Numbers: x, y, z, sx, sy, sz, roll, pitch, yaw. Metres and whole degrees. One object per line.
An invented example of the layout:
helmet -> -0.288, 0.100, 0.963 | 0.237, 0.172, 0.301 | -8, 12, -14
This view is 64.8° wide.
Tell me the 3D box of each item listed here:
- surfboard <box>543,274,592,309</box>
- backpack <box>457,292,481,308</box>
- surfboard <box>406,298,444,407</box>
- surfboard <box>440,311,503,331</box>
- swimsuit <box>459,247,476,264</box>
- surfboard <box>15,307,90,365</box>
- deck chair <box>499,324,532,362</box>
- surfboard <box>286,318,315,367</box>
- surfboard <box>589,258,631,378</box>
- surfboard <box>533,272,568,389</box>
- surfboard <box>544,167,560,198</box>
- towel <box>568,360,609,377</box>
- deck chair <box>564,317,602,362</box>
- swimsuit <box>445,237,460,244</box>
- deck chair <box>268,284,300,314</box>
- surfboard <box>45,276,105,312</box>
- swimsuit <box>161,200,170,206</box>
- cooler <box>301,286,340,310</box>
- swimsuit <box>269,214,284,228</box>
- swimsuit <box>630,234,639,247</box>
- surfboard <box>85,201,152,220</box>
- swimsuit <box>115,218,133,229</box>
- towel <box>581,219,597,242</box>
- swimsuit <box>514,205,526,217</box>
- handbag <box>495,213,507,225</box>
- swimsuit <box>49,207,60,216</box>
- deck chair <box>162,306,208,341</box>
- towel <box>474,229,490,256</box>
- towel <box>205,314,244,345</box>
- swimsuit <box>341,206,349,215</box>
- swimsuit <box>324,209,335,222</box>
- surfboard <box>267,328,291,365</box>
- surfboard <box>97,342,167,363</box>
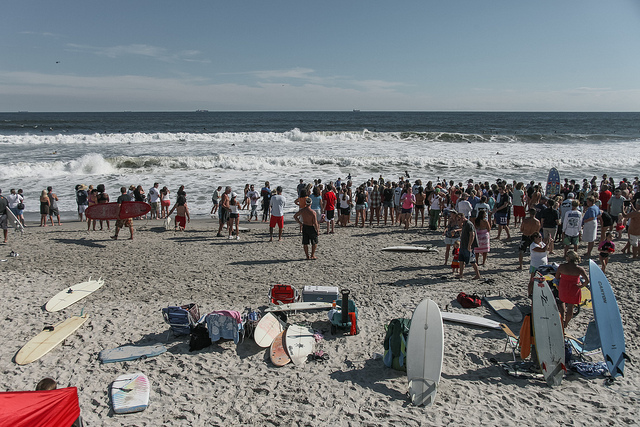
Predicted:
surfboard -> 6.630, 1.960, 13.392 | 0.928, 1.082, 0.755 | -3, -8, -2
backpack -> 3.963, 2.286, 13.263 | 0.428, 0.159, 0.332 | 2, 15, -24
surfboard -> 2.308, 3.188, 11.145 | 0.797, 2.577, 0.351 | 1, 12, 5
surfboard -> 3.769, 2.670, 12.692 | 2.036, 0.181, 0.496 | 4, 20, 11
swimsuit -> 4.101, 1.165, 14.090 | 0.222, 0.386, 0.296 | 30, -44, -34
surfboard -> -6.414, 3.001, 12.019 | 0.623, 0.664, 1.605 | 5, 11, 37
deck chair -> 4.759, 2.934, 11.902 | 0.687, 0.881, 0.521 | -17, 22, -5
surfboard -> -0.524, 3.122, 12.078 | 0.780, 0.296, 1.678 | 16, 18, -5
surfboard -> 6.571, 2.470, 11.521 | 0.613, 3.087, 0.350 | 0, -19, -12
surfboard -> 5.068, 2.591, 11.145 | 0.581, 2.566, 0.433 | -2, -5, 6
surfboard -> 9.713, -1.308, 21.042 | 0.496, 1.187, 1.005 | 2, 9, 16
towel -> 6.166, 3.512, 11.473 | 0.636, 0.203, 0.377 | 2, 33, -16
deck chair -> 6.249, 3.016, 11.830 | 0.658, 0.899, 0.984 | 1, -6, -21
swimsuit -> 3.803, 0.774, 14.621 | 0.332, 0.200, 0.259 | -2, 1, -6
deck chair -> -0.961, 2.275, 13.235 | 0.808, 0.454, 1.053 | 1, 7, -3
surfboard -> -6.544, 2.181, 13.416 | 0.651, 0.433, 1.526 | 4, 10, 32
swimsuit -> -6.069, -0.411, 19.765 | 0.270, 0.195, 0.193 | -6, 9, -42
cooler -> -0.032, 2.414, 13.276 | 0.884, 0.502, 0.546 | 2, 7, 2
swimsuit -> -1.494, 0.253, 16.854 | 0.690, 0.314, 0.786 | 4, -9, -11
swimsuit -> 9.467, 0.798, 15.162 | 0.179, 0.300, 0.309 | -7, 15, -10
surfboard -> -6.861, -0.110, 17.048 | 2.132, 0.660, 0.422 | 1, 9, 11
swimsuit -> -6.650, 0.304, 17.144 | 0.533, 0.502, 0.294 | 8, 21, -38
towel -> 8.115, 0.527, 15.169 | 0.386, 0.693, 0.267 | 1, 9, 14
swimsuit -> 7.498, -0.103, 18.889 | 0.394, 0.475, 0.424 | 3, 10, 24
handbag -> 6.224, 0.187, 17.320 | 0.332, 0.346, 0.330 | 1, 5, 10
swimsuit -> -9.984, -0.089, 18.940 | 0.396, 0.375, 0.226 | -6, 12, -42
deck chair -> -3.364, 2.618, 12.245 | 0.685, 0.861, 0.740 | 1, -1, 0
towel -> 4.697, 0.816, 14.630 | 0.513, 0.702, 0.251 | -10, 12, -44
towel -> -2.295, 2.745, 11.939 | 0.732, 0.643, 0.186 | 6, 39, 0
swimsuit -> 0.948, -0.091, 19.229 | 0.287, 0.294, 0.194 | -1, 9, 2
swimsuit -> 0.341, 0.036, 18.262 | 0.387, 0.540, 0.312 | 2, 36, 1
surfboard -> -0.866, 3.007, 11.685 | 0.547, 1.749, 0.235 | 7, 47, -7
surfboard -> -4.372, 3.240, 11.697 | 1.516, 0.241, 0.399 | -3, 9, -13
